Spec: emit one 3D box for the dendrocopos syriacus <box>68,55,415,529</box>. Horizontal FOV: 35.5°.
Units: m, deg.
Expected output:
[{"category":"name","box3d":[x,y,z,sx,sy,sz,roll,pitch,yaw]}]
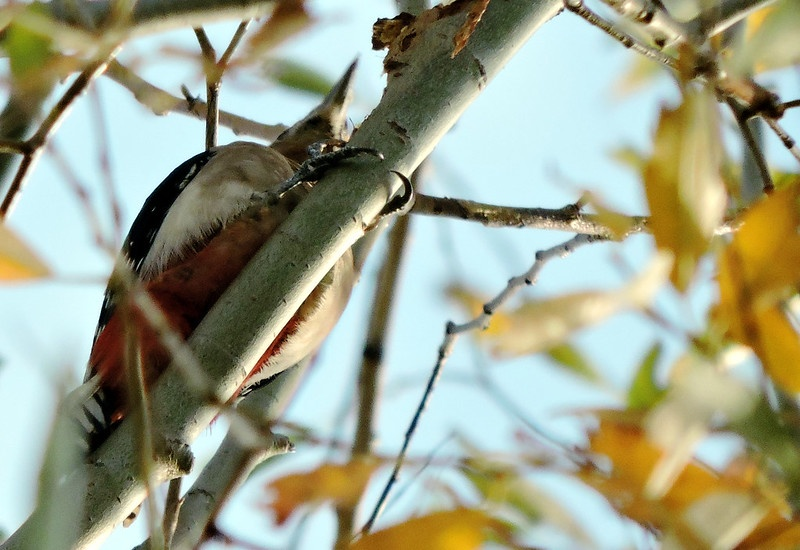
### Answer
[{"category":"dendrocopos syriacus","box3d":[-0.301,0.073,2.433,0.945,0.396,0.338,-47,-55,-1]}]
